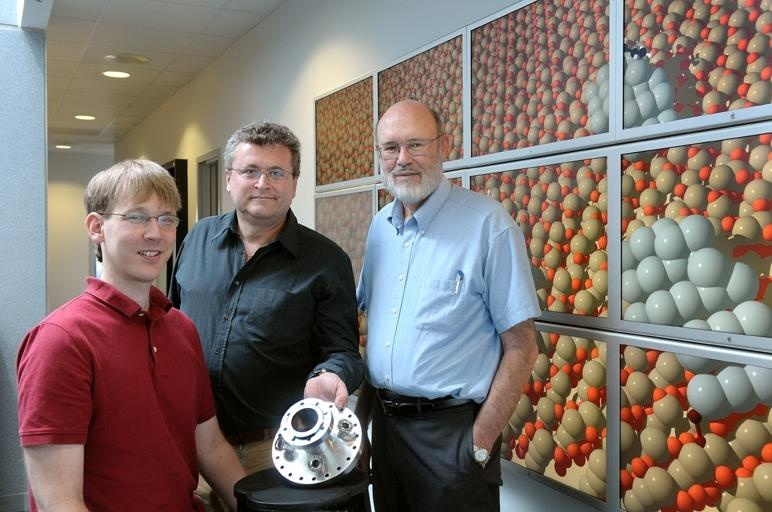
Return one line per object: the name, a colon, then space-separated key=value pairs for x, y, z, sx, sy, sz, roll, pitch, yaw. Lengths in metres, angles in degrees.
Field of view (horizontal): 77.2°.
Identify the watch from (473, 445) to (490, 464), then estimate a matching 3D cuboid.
watch: x=0.342 y=0.692 z=1.692 sx=0.072 sy=0.050 sz=0.032 roll=-3 pitch=0 yaw=-43
